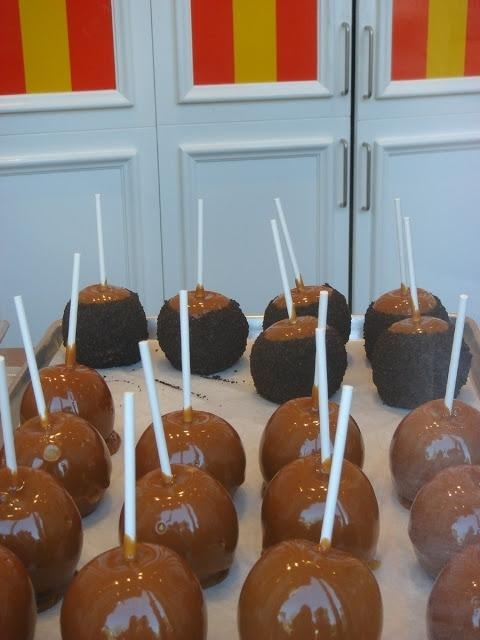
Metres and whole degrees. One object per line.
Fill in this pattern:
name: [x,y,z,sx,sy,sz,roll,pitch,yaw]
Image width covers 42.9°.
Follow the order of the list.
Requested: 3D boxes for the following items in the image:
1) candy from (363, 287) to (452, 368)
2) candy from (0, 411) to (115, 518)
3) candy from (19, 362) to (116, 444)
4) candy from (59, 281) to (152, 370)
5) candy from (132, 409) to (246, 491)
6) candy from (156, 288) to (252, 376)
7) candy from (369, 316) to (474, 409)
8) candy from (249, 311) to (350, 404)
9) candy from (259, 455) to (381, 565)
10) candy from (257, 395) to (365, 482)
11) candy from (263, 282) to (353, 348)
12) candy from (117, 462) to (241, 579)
candy: [0.261,0.016,0.971,0.124,0.132,0.130,-7,9,-19]
candy: [-0.160,0.122,0.568,0.089,0.091,0.095,-4,9,-4]
candy: [-0.199,0.074,0.722,0.090,0.118,0.093,-3,11,-26]
candy: [-0.205,0.009,0.987,0.139,0.153,0.147,-1,5,-6]
candy: [-0.045,0.098,0.570,0.082,0.090,0.089,-3,-1,-2]
candy: [-0.054,0.019,0.986,0.136,0.137,0.140,-13,20,-25]
candy: [0.238,0.041,0.850,0.115,0.119,0.119,-7,4,-27]
candy: [0.083,0.044,0.890,0.112,0.112,0.122,-2,3,-4]
candy: [0.058,0.134,0.494,0.080,0.084,0.081,4,-5,-35]
candy: [0.070,0.105,0.643,0.088,0.092,0.091,1,2,-20]
candy: [0.115,-0.014,0.984,0.101,0.115,0.108,-1,2,-10]
candy: [-0.044,0.149,0.462,0.081,0.080,0.084,-3,5,3]
